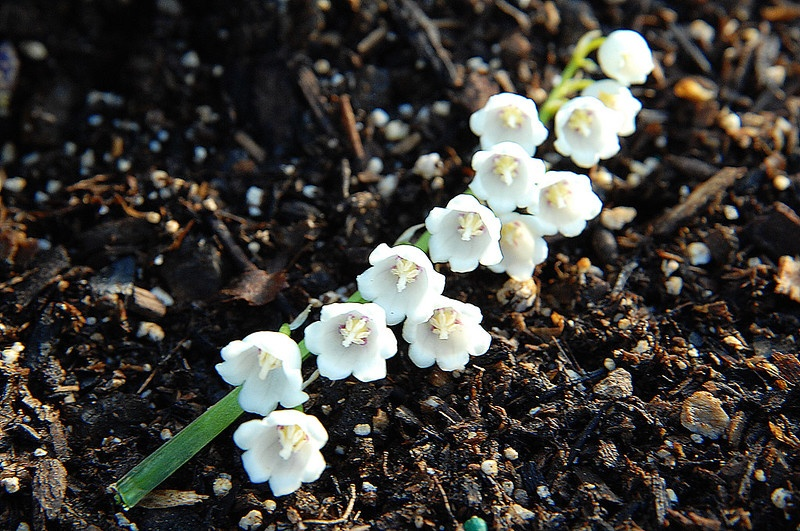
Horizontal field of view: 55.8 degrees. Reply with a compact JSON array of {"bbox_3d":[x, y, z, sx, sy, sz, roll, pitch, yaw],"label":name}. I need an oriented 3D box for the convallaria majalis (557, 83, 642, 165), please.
[{"bbox_3d":[1.175,-0.868,4.698,0.581,0.512,0.559,2,13,13],"label":"convallaria majalis"}]

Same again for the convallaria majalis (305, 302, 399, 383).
[{"bbox_3d":[-0.262,0.427,4.117,0.440,0.455,0.331,-1,2,13],"label":"convallaria majalis"}]

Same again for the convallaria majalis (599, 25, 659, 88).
[{"bbox_3d":[1.391,-1.312,4.744,0.293,0.352,0.476,-1,-7,6],"label":"convallaria majalis"}]

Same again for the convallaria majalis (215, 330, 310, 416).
[{"bbox_3d":[-0.685,0.585,4.096,0.463,0.387,0.381,38,46,18],"label":"convallaria majalis"}]

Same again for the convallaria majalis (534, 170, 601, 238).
[{"bbox_3d":[0.978,-0.365,4.449,0.415,0.355,0.139,5,16,0],"label":"convallaria majalis"}]

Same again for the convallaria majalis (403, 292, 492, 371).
[{"bbox_3d":[0.288,0.379,4.289,0.515,0.471,0.376,3,15,15],"label":"convallaria majalis"}]
